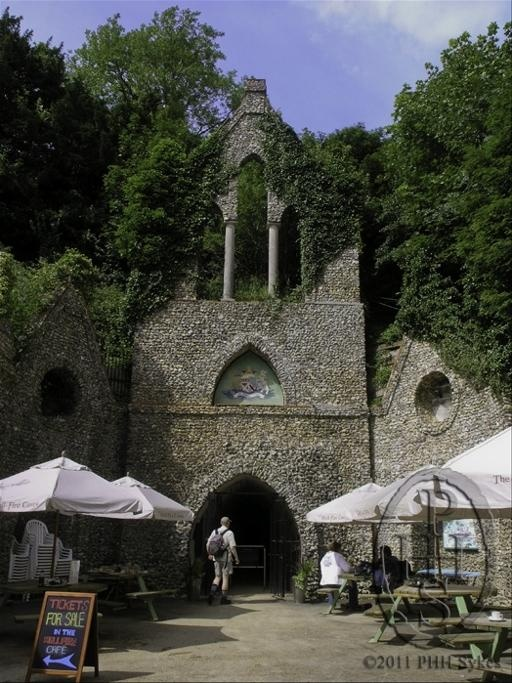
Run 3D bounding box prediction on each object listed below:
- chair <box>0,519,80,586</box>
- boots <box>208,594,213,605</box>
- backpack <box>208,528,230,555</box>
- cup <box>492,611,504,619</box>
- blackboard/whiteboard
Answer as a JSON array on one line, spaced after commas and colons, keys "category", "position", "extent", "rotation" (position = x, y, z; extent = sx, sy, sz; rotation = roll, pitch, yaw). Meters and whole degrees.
[{"category": "chair", "position": [-4.220, 4.073, 14.471], "extent": [0.755, 1.219, 2.128], "rotation": [-5, -22, 8]}, {"category": "boots", "position": [-0.911, 5.356, 15.606], "extent": [0.149, 0.206, 0.088], "rotation": [9, -3, -13]}, {"category": "backpack", "position": [-0.769, 4.151, 15.432], "extent": [0.323, 0.557, 0.384], "rotation": [-6, -18, 27]}, {"category": "cup", "position": [2.971, 3.335, 9.179], "extent": [0.169, 0.111, 0.121], "rotation": [3, -21, 7]}, {"category": "blackboard/whiteboard", "position": [-2.182, 3.318, 8.467], "extent": [0.597, 0.904, 0.337], "rotation": [1, -17, 5]}]
